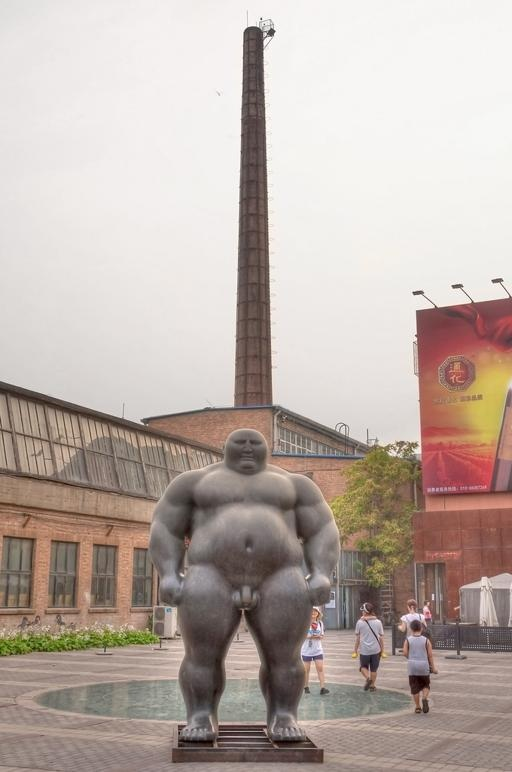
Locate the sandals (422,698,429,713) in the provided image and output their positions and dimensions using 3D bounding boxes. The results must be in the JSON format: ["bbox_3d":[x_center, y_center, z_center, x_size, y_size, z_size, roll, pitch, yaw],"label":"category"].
[{"bbox_3d":[1.887,3.577,7.072,0.064,0.180,0.070,-4,0,11],"label":"sandals"}]

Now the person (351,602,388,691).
[{"bbox_3d":[1.784,4.129,10.030,0.451,1.418,1.602,-3,-10,8],"label":"person"}]

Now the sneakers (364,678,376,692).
[{"bbox_3d":[1.657,4.380,9.241,0.090,0.101,0.235,-1,-51,0],"label":"sneakers"}]

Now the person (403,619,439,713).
[{"bbox_3d":[1.966,3.400,7.615,0.351,1.101,1.227,-4,-10,12],"label":"person"}]

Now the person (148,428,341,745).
[{"bbox_3d":[-0.066,1.314,4.315,1.276,2.104,0.664,0,-10,-10],"label":"person"}]

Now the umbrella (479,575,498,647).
[{"bbox_3d":[6.966,6.543,19.196,0.485,1.298,1.555,-5,-11,18],"label":"umbrella"}]
